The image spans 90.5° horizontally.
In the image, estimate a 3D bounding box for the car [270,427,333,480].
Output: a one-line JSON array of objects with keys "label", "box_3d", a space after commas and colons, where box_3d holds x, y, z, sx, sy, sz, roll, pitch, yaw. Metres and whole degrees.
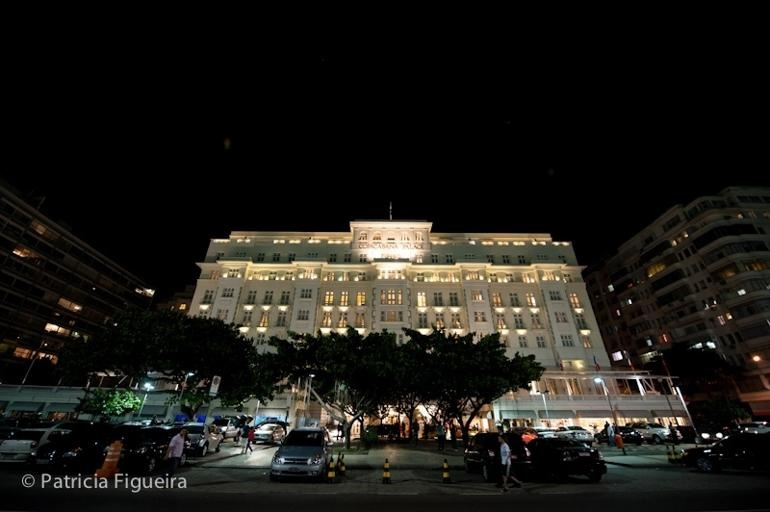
[{"label": "car", "box_3d": [-5.155, 12.326, 23.852, 3.442, 2.976, 1.661, 5, -29, -7]}]

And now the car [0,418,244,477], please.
[{"label": "car", "box_3d": [-17.814, 12.123, 24.197, 7.209, 2.739, 2.347, 9, -28, -16]}]
